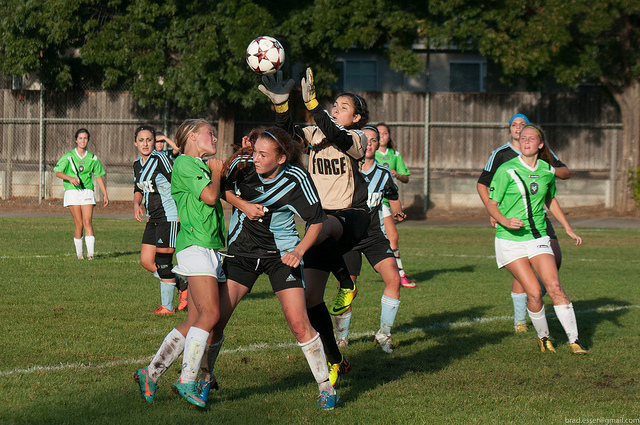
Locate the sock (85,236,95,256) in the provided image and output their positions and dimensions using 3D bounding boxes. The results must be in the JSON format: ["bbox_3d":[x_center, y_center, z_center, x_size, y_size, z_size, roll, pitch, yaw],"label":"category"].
[{"bbox_3d":[-4.998,0.722,16.058,0.135,0.424,0.216,-1,11,-9],"label":"sock"}]

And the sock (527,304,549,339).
[{"bbox_3d":[3.381,1.672,11.415,0.280,0.822,0.292,1,42,30],"label":"sock"}]

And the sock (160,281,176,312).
[{"bbox_3d":[-2.594,1.413,12.625,0.222,0.484,0.224,-2,12,-14],"label":"sock"}]

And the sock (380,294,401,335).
[{"bbox_3d":[1.052,1.549,11.405,0.254,0.560,0.309,3,11,9],"label":"sock"}]

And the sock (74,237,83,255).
[{"bbox_3d":[-5.243,0.720,16.102,0.125,0.304,0.298,-5,13,-28],"label":"sock"}]

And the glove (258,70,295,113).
[{"bbox_3d":[-0.609,-1.693,10.414,0.516,0.726,0.164,-13,-23,-6],"label":"glove"}]

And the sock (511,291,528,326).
[{"bbox_3d":[3.223,1.554,12.057,0.244,0.553,0.206,4,12,13],"label":"sock"}]
